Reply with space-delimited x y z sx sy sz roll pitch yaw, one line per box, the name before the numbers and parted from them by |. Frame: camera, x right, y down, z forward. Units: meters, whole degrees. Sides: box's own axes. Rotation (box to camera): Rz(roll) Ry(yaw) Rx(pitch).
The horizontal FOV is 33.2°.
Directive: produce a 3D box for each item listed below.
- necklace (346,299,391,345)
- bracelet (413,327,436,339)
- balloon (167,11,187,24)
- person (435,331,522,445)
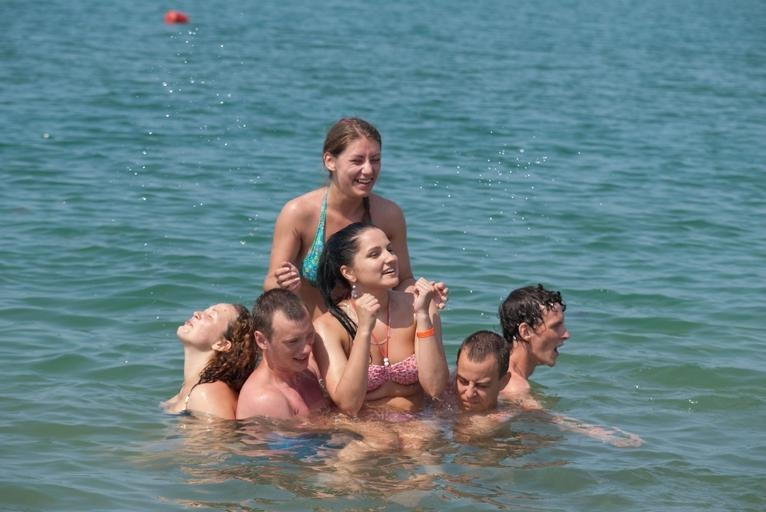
necklace | -0.065 0.994 19.173 0.619 0.636 0.267 -5 -3 -2
bracelet | 0.638 1.135 19.177 0.267 0.173 0.134 3 28 -5
balloon | -6.398 -7.373 39.809 0.663 0.298 0.619 19 24 29
person | 1.520 1.986 19.686 1.383 1.476 1.062 8 19 2
